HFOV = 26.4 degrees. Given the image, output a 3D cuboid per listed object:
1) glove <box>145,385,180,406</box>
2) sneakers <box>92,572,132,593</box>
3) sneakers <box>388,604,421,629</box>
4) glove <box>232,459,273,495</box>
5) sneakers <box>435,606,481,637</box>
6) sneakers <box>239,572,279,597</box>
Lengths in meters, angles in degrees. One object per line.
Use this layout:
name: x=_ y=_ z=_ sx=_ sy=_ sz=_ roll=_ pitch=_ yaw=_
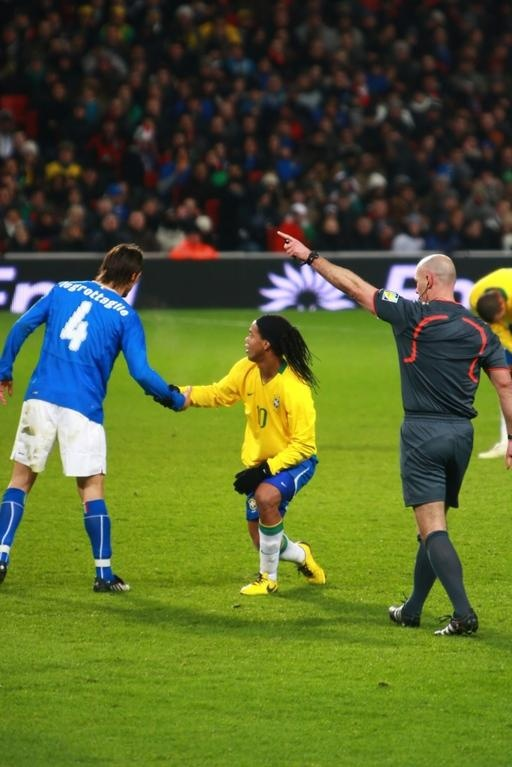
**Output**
glove: x=-0.456 y=0.077 z=5.507 sx=0.150 sy=0.053 sz=0.103 roll=8 pitch=31 yaw=-23
sneakers: x=-0.710 y=0.995 z=5.451 sx=0.216 sy=0.083 sz=0.070 roll=0 pitch=4 yaw=-18
sneakers: x=0.680 y=1.066 z=5.041 sx=0.067 sy=0.072 sz=0.170 roll=-3 pitch=12 yaw=-25
glove: x=-0.017 y=0.470 z=5.458 sx=0.056 sy=0.174 sz=0.168 roll=49 pitch=10 yaw=-32
sneakers: x=0.890 y=1.058 z=4.807 sx=0.092 sy=0.109 sz=0.262 roll=-5 pitch=-6 yaw=-37
sneakers: x=0.015 y=1.009 z=5.462 sx=0.109 sy=0.100 sz=0.219 roll=6 pitch=9 yaw=31
